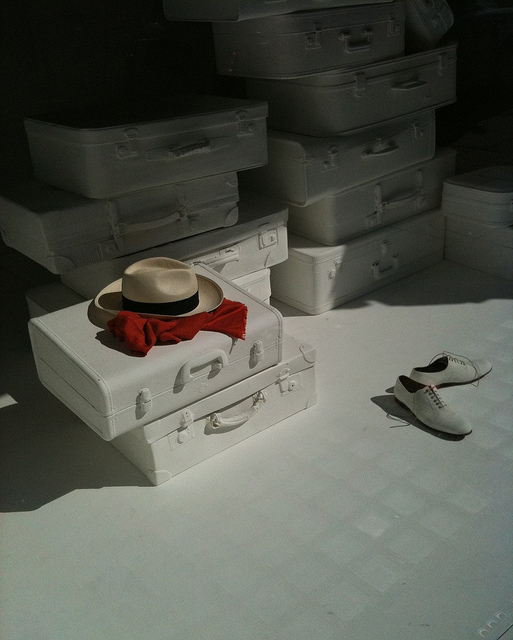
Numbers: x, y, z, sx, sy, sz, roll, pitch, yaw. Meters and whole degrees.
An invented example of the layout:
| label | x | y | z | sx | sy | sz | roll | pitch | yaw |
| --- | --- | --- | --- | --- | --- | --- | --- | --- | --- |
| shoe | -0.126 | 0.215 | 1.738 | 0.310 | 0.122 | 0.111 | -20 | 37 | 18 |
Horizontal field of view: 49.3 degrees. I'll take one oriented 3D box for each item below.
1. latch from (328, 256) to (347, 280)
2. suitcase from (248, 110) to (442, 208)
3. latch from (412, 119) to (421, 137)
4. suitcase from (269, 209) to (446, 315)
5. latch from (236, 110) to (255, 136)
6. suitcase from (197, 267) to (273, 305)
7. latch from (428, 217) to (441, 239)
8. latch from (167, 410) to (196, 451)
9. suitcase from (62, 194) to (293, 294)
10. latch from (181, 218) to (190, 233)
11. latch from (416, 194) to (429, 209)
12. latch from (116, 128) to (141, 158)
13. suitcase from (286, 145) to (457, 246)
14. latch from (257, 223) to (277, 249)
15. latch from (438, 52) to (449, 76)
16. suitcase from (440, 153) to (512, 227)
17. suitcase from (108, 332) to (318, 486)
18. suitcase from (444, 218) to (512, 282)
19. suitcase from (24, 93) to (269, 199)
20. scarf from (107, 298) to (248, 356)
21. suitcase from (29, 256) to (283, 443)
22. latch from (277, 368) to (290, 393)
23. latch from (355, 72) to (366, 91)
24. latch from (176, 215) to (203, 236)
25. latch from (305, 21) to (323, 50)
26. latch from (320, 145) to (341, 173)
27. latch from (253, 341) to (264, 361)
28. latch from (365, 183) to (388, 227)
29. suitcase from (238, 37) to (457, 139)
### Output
| label | x | y | z | sx | sy | sz | roll | pitch | yaw |
| --- | --- | --- | --- | --- | --- | --- | --- | --- | --- |
| latch | 0.324 | -0.220 | 2.299 | 0.083 | 0.049 | 0.051 | -29 | 49 | -30 |
| suitcase | 0.366 | -0.705 | 2.309 | 0.741 | 0.201 | 0.421 | -26 | 36 | -30 |
| latch | 0.667 | -0.806 | 2.336 | 0.020 | 0.058 | 0.048 | 7 | 19 | 37 |
| suitcase | 0.423 | -0.305 | 2.636 | 0.765 | 0.192 | 0.551 | -26 | 24 | -31 |
| latch | -0.035 | -0.626 | 1.774 | 0.057 | 0.068 | 0.026 | -11 | 17 | -27 |
| suitcase | -0.049 | -0.160 | 2.189 | 0.176 | 0.102 | 0.172 | -31 | 51 | -27 |
| latch | 0.840 | -0.439 | 2.651 | 0.084 | 0.092 | 0.027 | -8 | 11 | -40 |
| latch | -0.202 | 0.286 | 1.464 | 0.033 | 0.089 | 0.087 | 5 | 15 | 43 |
| suitcase | -0.116 | -0.298 | 2.001 | 0.499 | 0.116 | 0.483 | -25 | 34 | -31 |
| latch | -0.228 | -0.304 | 1.792 | 0.011 | 0.037 | 0.031 | 2 | 12 | 32 |
| latch | 0.753 | -0.547 | 2.561 | 0.035 | 0.040 | 0.061 | 24 | 48 | 36 |
| latch | -0.351 | -0.481 | 1.516 | 0.062 | 0.073 | 0.022 | -20 | 31 | -41 |
| suitcase | 0.512 | -0.503 | 2.386 | 0.692 | 0.164 | 0.527 | -26 | 37 | -34 |
| latch | 0.038 | -0.307 | 2.052 | 0.088 | 0.079 | 0.023 | -19 | 25 | -40 |
| latch | 0.752 | -1.045 | 2.269 | 0.043 | 0.074 | 0.054 | 23 | 56 | 28 |
| suitcase | 1.095 | -0.570 | 2.580 | 0.457 | 0.147 | 0.324 | -23 | 36 | -32 |
| suitcase | -0.222 | 0.242 | 1.849 | 0.681 | 0.383 | 0.494 | -16 | 32 | -28 |
| suitcase | 1.028 | -0.326 | 2.584 | 0.257 | 0.165 | 0.165 | 30 | 57 | 31 |
| suitcase | -0.385 | -0.546 | 1.701 | 0.607 | 0.183 | 0.495 | -25 | 38 | -34 |
| scarf | -0.180 | -0.002 | 1.421 | 0.355 | 0.045 | 0.234 | -21 | 32 | -34 |
| suitcase | -0.259 | 0.027 | 1.478 | 0.546 | 0.284 | 0.398 | -26 | 45 | -35 |
| latch | 0.078 | 0.178 | 1.655 | 0.021 | 0.063 | 0.051 | 14 | 27 | 34 |
| latch | 0.369 | -0.854 | 2.005 | 0.050 | 0.055 | 0.016 | -15 | 17 | -38 |
| latch | -0.213 | -0.305 | 1.813 | 0.024 | 0.060 | 0.094 | 10 | 26 | 44 |
| latch | 0.184 | -0.920 | 1.822 | 0.069 | 0.083 | 0.030 | -19 | 26 | -37 |
| latch | 0.266 | -0.597 | 2.053 | 0.075 | 0.068 | 0.062 | -33 | 55 | -28 |
| latch | 0.002 | 0.082 | 1.512 | 0.027 | 0.047 | 0.035 | 36 | 56 | 28 |
| latch | 0.499 | -0.492 | 2.357 | 0.051 | 0.168 | 0.180 | 8 | 19 | 34 |
| suitcase | 0.336 | -0.902 | 2.102 | 0.714 | 0.228 | 0.573 | -25 | 40 | -30 |
